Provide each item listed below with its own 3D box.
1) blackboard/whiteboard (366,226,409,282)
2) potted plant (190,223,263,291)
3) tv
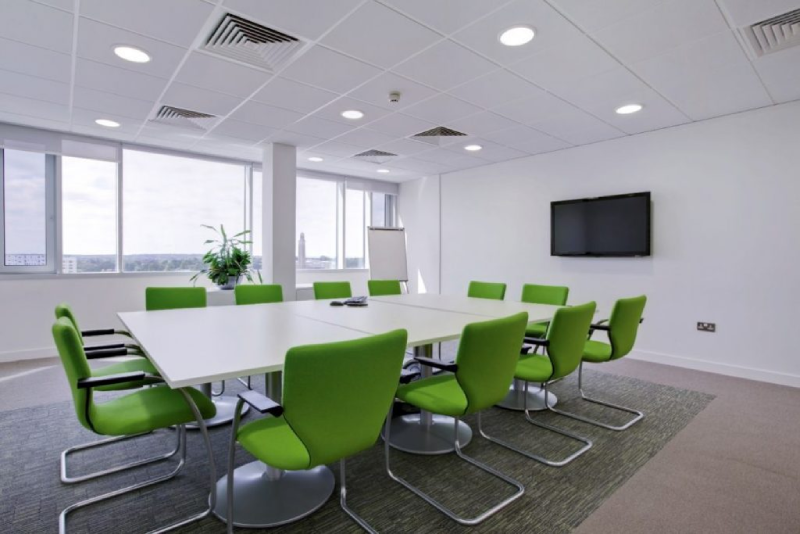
[{"bbox_3d":[-0.228,-0.236,8.595,1.078,1.243,0.129,-1,-1,-39],"label":"blackboard/whiteboard"},{"bbox_3d":[-2.682,-0.180,7.809,1.098,1.121,0.958,2,3,30],"label":"potted plant"},{"bbox_3d":[2.884,-0.610,6.763,0.999,0.646,0.104,0,1,42],"label":"tv"}]
